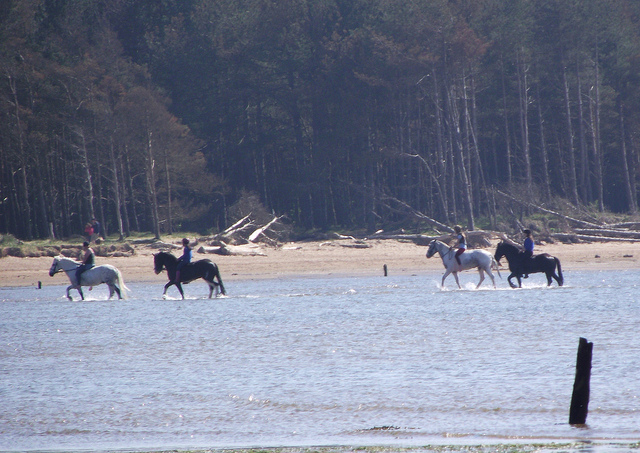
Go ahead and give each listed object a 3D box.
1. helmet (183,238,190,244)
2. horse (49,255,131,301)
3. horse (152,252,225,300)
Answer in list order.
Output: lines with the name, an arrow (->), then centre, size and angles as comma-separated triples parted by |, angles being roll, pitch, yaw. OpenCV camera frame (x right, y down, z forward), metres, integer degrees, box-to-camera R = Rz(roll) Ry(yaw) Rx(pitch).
helmet -> -9.109, 0.974, 83.371 | 0.410, 0.393, 0.437 | 1, -14, -2
horse -> -15.878, 3.668, 85.292 | 6.018, 2.997, 1.344 | -2, 2, 22
horse -> -8.742, 3.454, 84.305 | 5.830, 3.124, 1.412 | 0, 1, 23
